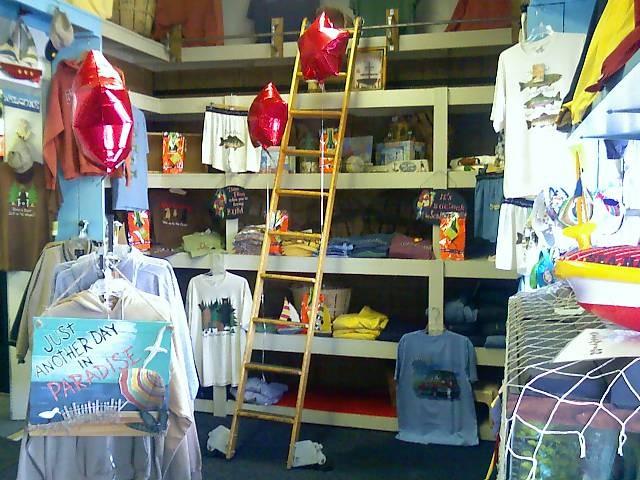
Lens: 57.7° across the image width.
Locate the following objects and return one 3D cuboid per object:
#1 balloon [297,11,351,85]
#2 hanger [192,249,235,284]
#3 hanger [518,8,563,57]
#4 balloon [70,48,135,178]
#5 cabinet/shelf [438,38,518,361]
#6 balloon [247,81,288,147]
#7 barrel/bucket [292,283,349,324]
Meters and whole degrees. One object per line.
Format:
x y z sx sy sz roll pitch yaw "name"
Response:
0.021 -1.242 3.759 0.240 0.561 0.569 0 18 -23 "balloon"
-0.769 0.186 4.208 0.201 0.266 0.010 1 -3 8 "hanger"
1.132 -1.076 3.057 0.183 0.398 0.199 3 9 20 "hanger"
-0.976 -0.583 2.616 0.249 0.521 0.166 -1 9 -13 "balloon"
1.080 -0.313 4.074 0.495 1.958 0.970 3 10 8 "cabinet/shelf"
-0.339 -0.800 3.764 0.257 0.414 0.223 0 10 -8 "balloon"
-0.004 0.463 4.279 0.268 0.231 0.265 -1 -3 0 "barrel/bucket"
